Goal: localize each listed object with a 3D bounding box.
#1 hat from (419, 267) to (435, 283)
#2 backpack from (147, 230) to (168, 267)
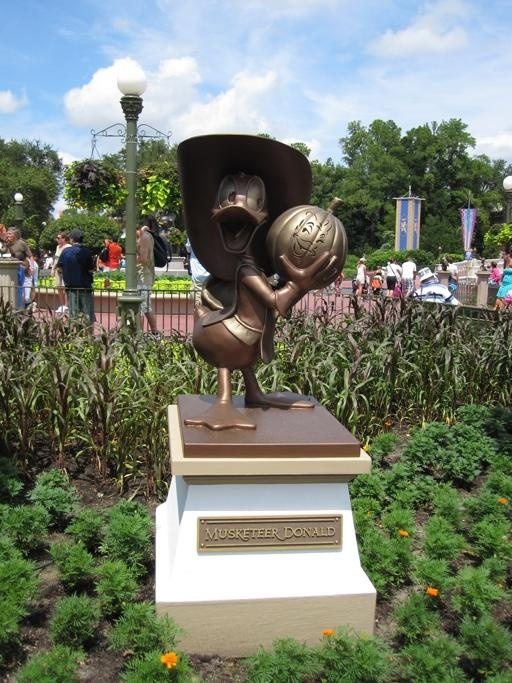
[{"bbox_3d":[2.359,-0.925,7.947,0.193,0.126,0.234,-23,0,-3],"label":"hat"},{"bbox_3d":[-1.513,-1.441,9.006,0.494,0.486,0.369,-3,13,-12],"label":"backpack"}]
